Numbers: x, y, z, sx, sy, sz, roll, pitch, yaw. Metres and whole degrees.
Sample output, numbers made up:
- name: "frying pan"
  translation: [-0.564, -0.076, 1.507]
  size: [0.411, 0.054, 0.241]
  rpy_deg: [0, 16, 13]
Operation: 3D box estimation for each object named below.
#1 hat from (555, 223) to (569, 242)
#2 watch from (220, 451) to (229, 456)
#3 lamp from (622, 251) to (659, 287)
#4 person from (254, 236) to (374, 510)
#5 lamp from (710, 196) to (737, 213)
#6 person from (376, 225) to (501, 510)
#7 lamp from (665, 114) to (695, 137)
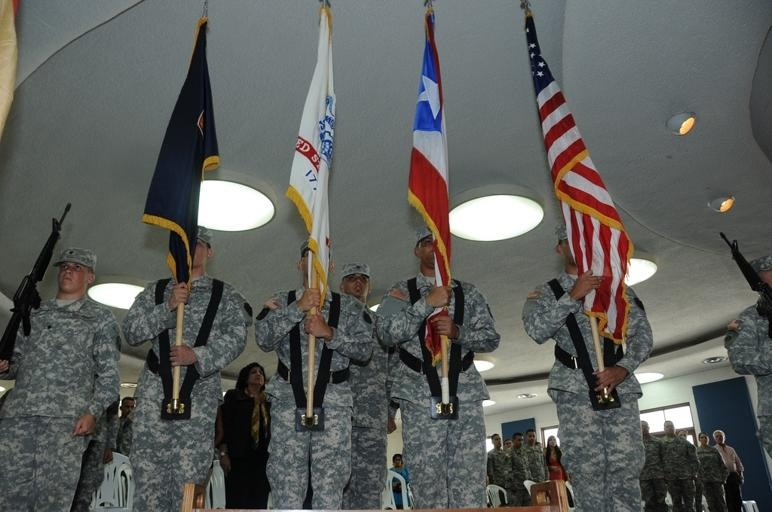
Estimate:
- name: "hat"
  translation: [1.979, -0.243, 6.518]
  size: [0.121, 0.176, 0.049]
  rpy_deg: [-14, -32, 41]
- name: "watch"
  translation: [-2.165, 2.687, 7.897]
  size: [0.095, 0.038, 0.098]
  rpy_deg: [9, -18, 7]
- name: "lamp"
  translation: [4.464, 0.204, 10.241]
  size: [0.546, 0.133, 0.554]
  rpy_deg: [17, -35, -25]
- name: "person"
  translation: [-0.700, 1.228, 5.534]
  size: [1.105, 2.141, 0.700]
  rpy_deg: [-2, -29, -2]
- name: "lamp"
  translation: [5.445, -0.824, 9.502]
  size: [0.356, 0.115, 0.225]
  rpy_deg: [-2, -75, -4]
- name: "person"
  translation: [0.498, 1.024, 5.678]
  size: [1.116, 2.779, 0.898]
  rpy_deg: [10, -32, -22]
- name: "lamp"
  translation: [4.133, -1.829, 8.207]
  size: [0.315, 0.100, 0.246]
  rpy_deg: [-17, -62, 28]
